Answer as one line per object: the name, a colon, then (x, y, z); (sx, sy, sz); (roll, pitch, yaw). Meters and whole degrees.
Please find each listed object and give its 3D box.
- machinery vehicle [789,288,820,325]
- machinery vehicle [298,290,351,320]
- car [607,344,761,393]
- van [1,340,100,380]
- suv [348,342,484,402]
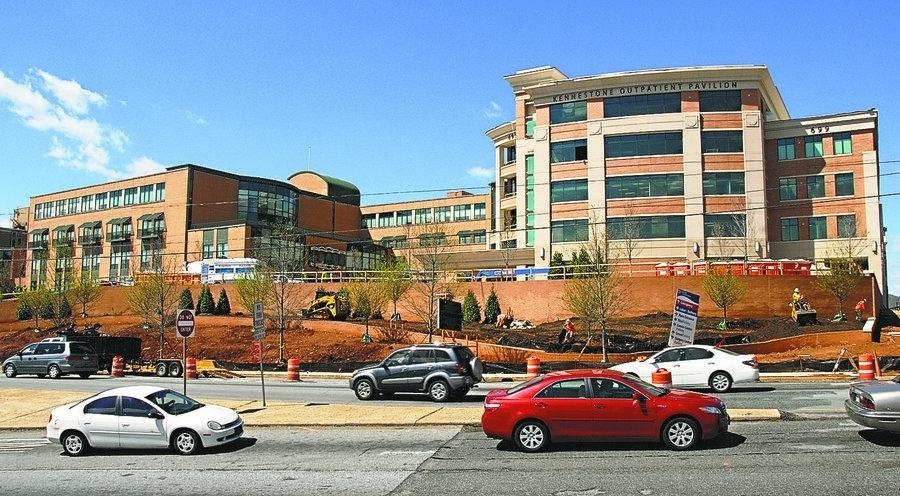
machinery vehicle: (28.328, 4.735, 67.943); (1.739, 2.818, 1.440); (-5, -8, 21)
machinery vehicle: (-11.255, 5.559, 80.887); (6.227, 2.674, 2.055); (2, 0, 27)
car: (14.847, 7.317, 50.618); (9.645, 2.640, 3.378); (0, -2, 11)
van: (-29.029, 8.107, 61.482); (6.101, 2.761, 1.235); (-2, -8, 3)
suv: (-2.011, 7.702, 51.113); (8.981, 3.175, 3.676); (-1, -1, 24)
